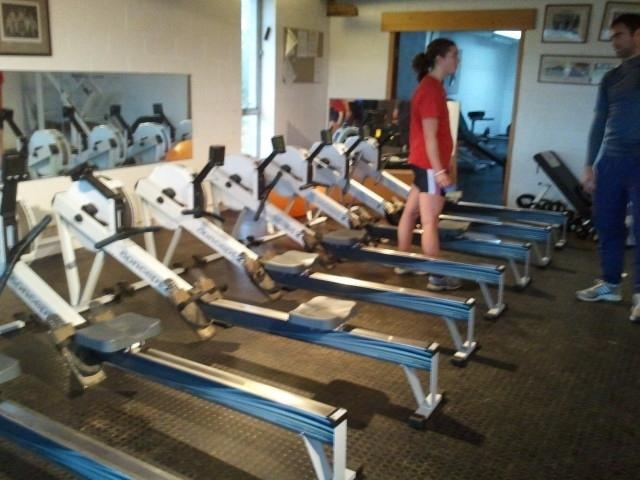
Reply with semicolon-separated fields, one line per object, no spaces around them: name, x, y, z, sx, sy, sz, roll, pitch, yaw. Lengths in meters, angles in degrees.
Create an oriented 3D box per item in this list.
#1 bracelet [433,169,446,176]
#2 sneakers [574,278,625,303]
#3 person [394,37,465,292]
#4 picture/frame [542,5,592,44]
bracelet;0.896;-0.499;3.854;0.087;0.034;0.071;-3;18;-4
sneakers;2.218;0.403;4.187;0.413;0.175;0.141;3;14;20
person;0.815;-0.660;4.022;0.439;1.684;0.653;2;21;13
picture/frame;3.031;-2.639;6.352;0.557;0.454;0.051;10;22;24
